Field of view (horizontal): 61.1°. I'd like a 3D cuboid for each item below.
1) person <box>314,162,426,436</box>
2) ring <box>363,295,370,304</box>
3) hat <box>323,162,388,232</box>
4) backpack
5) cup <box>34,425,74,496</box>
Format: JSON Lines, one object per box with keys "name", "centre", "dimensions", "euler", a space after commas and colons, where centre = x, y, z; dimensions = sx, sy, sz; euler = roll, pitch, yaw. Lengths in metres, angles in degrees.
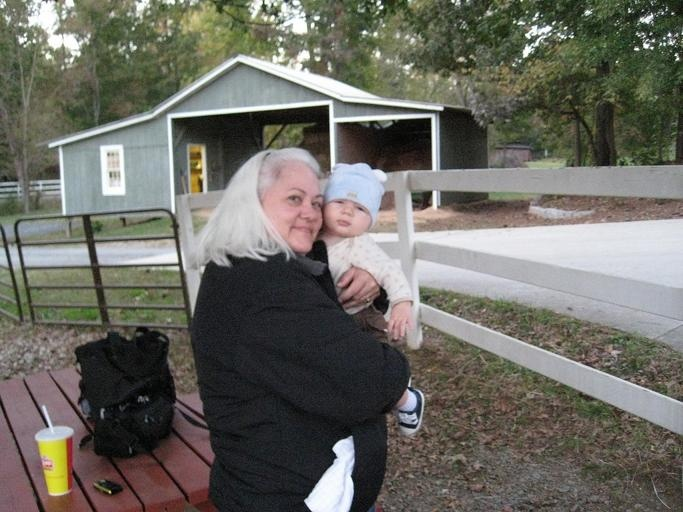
{"name": "person", "centre": [0.030, 0.256, 3.021], "dimensions": [0.664, 1.493, 0.530], "euler": [2, 0, 13]}
{"name": "ring", "centre": [0.129, 0.218, 2.929], "dimensions": [0.017, 0.017, 0.071], "euler": [17, -16, 0]}
{"name": "hat", "centre": [0.069, -0.350, 3.092], "dimensions": [0.271, 0.333, 0.321], "euler": [19, 10, -8]}
{"name": "backpack", "centre": [-1.129, 0.743, 3.161], "dimensions": [0.360, 0.712, 0.521], "euler": [-8, -13, 29]}
{"name": "cup", "centre": [-1.318, 0.939, 2.671], "dimensions": [0.145, 0.303, 0.159], "euler": [-8, 8, -31]}
